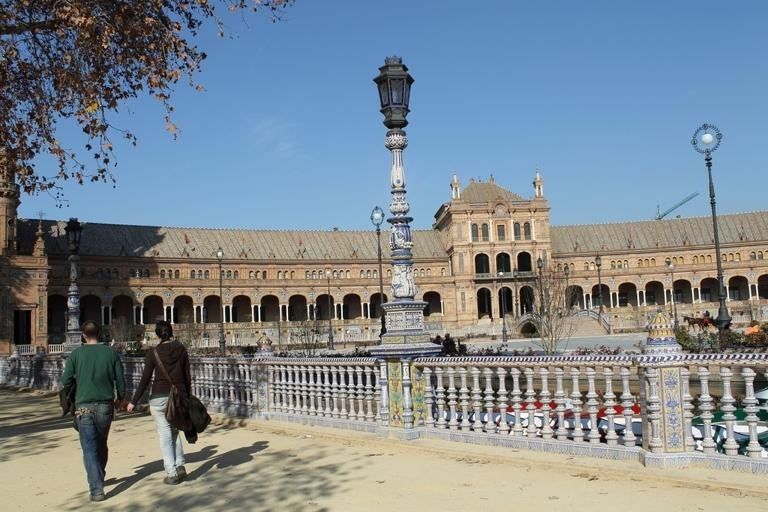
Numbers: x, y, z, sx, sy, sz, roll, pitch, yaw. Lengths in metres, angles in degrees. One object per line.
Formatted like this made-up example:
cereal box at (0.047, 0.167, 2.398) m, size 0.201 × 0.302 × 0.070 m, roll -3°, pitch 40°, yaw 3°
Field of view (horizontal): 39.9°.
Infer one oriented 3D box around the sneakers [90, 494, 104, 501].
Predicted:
sneakers at (-5.857, 4.988, 21.659) m, size 0.173 × 0.060 × 0.176 m, roll -7°, pitch -7°, yaw 23°

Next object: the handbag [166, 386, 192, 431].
handbag at (-4.359, 3.285, 22.357) m, size 0.406 × 0.811 × 0.854 m, roll -7°, pitch -12°, yaw 12°
